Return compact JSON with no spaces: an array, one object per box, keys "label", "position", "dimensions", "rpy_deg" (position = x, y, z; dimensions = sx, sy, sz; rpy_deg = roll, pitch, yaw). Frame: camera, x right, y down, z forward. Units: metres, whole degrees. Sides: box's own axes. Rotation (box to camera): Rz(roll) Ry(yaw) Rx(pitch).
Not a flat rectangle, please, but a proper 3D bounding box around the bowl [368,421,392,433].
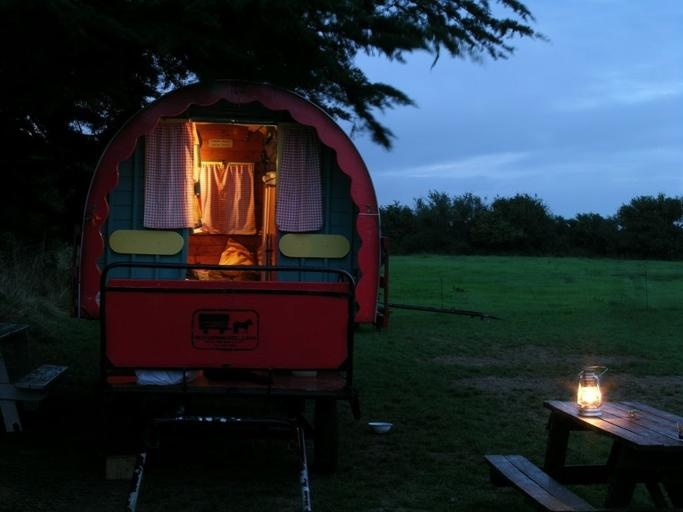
[{"label":"bowl","position":[0.423,1.822,8.434],"dimensions":[0.255,0.113,0.339],"rpy_deg":[-1,1,5]}]
